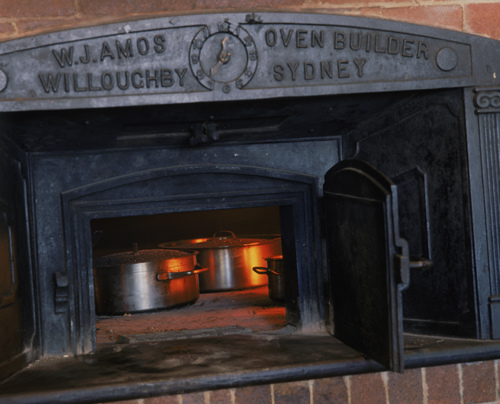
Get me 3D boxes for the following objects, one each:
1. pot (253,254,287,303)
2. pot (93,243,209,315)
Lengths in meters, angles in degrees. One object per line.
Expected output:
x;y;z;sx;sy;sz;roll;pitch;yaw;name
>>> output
0.217;0.421;4.679;0.414;0.233;0.223;-1;-1;-1;pot
-0.591;0.410;4.567;0.848;0.230;0.441;-1;3;19;pot
